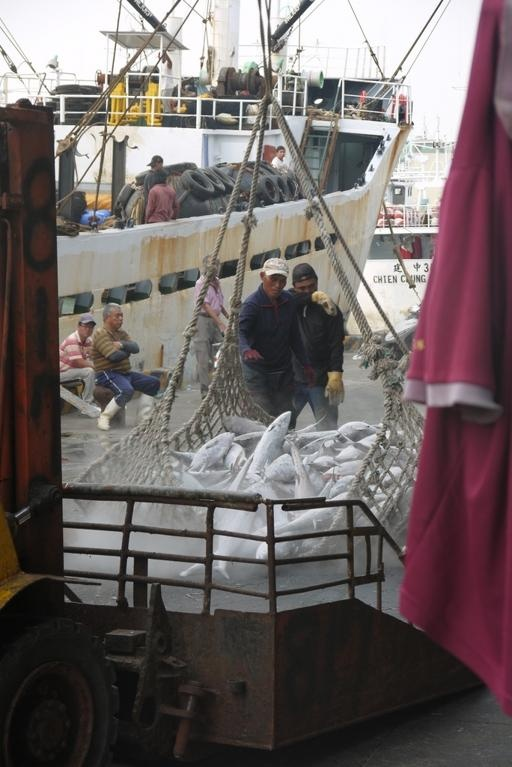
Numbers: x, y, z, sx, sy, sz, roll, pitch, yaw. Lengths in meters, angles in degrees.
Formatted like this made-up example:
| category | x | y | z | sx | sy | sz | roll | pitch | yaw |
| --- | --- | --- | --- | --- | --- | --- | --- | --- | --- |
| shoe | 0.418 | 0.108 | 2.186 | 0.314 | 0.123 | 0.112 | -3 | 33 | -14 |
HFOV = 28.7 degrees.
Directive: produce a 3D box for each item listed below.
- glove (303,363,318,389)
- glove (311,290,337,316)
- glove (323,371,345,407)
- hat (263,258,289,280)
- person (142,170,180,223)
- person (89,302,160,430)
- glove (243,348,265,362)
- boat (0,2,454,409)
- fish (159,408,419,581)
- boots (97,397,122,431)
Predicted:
| category | x | y | z | sx | sy | sz | roll | pitch | yaw |
| --- | --- | --- | --- | --- | --- | --- | --- | --- | --- |
| glove | 0.398 | -0.057 | 7.345 | 0.044 | 0.144 | 0.102 | -2 | -1 | 41 |
| glove | 0.478 | -0.594 | 7.257 | 0.054 | 0.123 | 0.205 | -21 | 35 | -19 |
| glove | 0.570 | 0.046 | 7.377 | 0.125 | 0.305 | 0.208 | 3 | 15 | 3 |
| hat | 0.123 | -0.766 | 6.675 | 0.175 | 0.152 | 0.338 | 2 | 15 | 0 |
| person | -1.166 | -2.286 | 12.238 | 0.409 | 0.659 | 0.748 | 1 | 15 | -5 |
| person | -1.262 | -0.176 | 9.455 | 0.590 | 1.141 | 0.561 | -2 | 16 | -16 |
| glove | -0.028 | -0.183 | 6.597 | 0.111 | 0.095 | 0.174 | 4 | 15 | 7 |
| boat | -0.481 | -4.196 | 16.416 | 5.185 | 3.836 | 9.596 | 5 | 14 | 15 |
| fish | 0.180 | 0.500 | 5.265 | 0.834 | 0.430 | 1.060 | 0 | 10 | 19 |
| boots | -1.380 | 0.298 | 9.432 | 0.109 | 0.217 | 0.232 | 26 | -24 | -7 |
